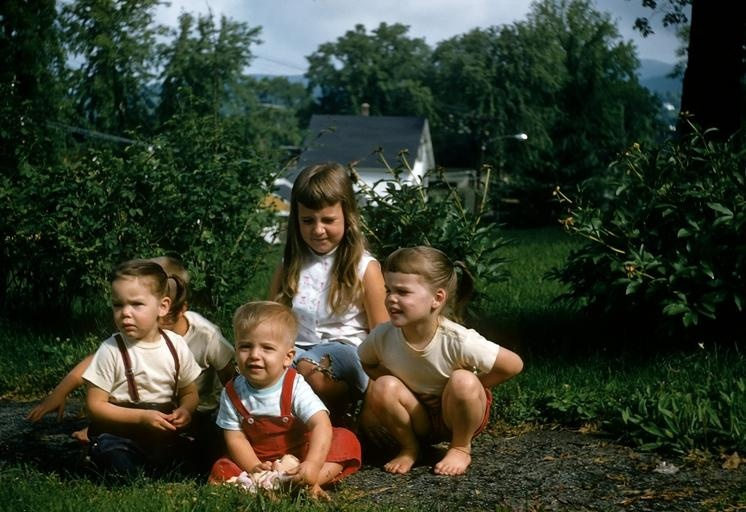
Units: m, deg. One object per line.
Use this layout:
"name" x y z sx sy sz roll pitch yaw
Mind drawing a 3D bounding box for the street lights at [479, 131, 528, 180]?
"street lights" 1.855 -1.506 11.100 0.684 0.430 2.027 4 2 8

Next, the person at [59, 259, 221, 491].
"person" -1.484 0.653 5.362 1.278 1.761 1.147 2 10 -26

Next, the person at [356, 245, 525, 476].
"person" 0.405 0.731 5.228 1.371 1.704 0.998 0 -6 30

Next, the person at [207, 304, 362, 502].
"person" -0.572 0.922 4.746 0.901 1.170 0.885 0 11 18
